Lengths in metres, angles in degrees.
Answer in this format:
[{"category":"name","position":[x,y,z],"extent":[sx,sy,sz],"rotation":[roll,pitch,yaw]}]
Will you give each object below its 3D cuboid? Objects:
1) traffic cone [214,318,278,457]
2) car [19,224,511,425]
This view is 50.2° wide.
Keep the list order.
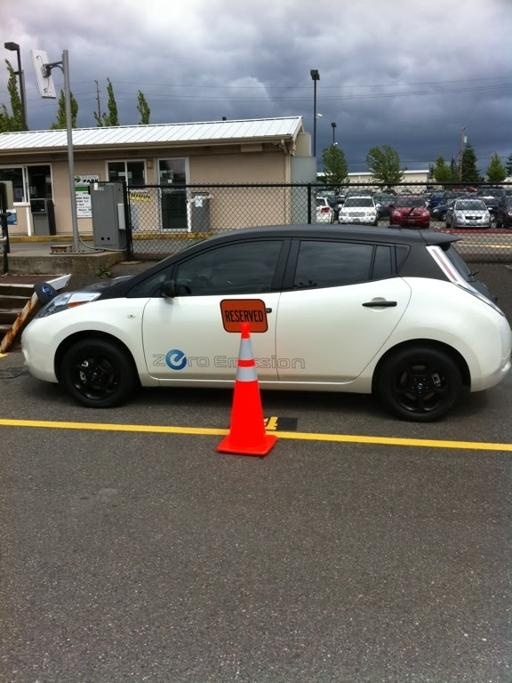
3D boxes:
[{"category":"traffic cone","position":[-0.074,0.320,3.840],"extent":[0.406,0.896,0.361],"rotation":[0,8,1]},{"category":"car","position":[0.014,-0.199,4.863],"extent":[3.629,1.280,1.764],"rotation":[2,4,4]}]
